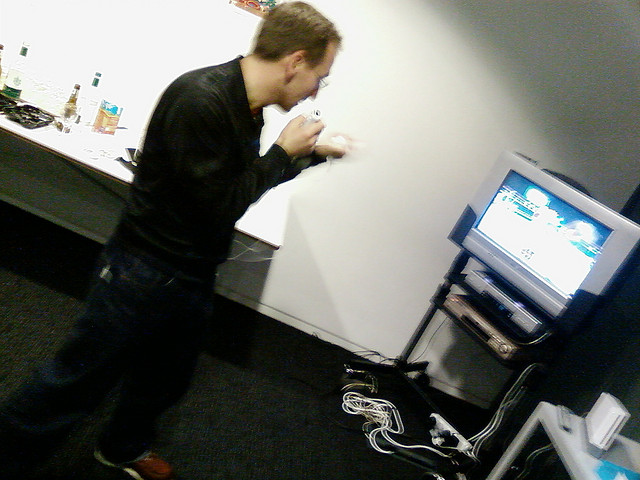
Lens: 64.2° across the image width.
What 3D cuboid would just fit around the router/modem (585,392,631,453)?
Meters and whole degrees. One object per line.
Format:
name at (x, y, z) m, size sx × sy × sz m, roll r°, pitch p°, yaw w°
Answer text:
router/modem at (1.053, 0.675, 1.893) m, size 0.062 × 0.197 × 0.156 m, roll 27°, pitch 19°, yaw -13°
